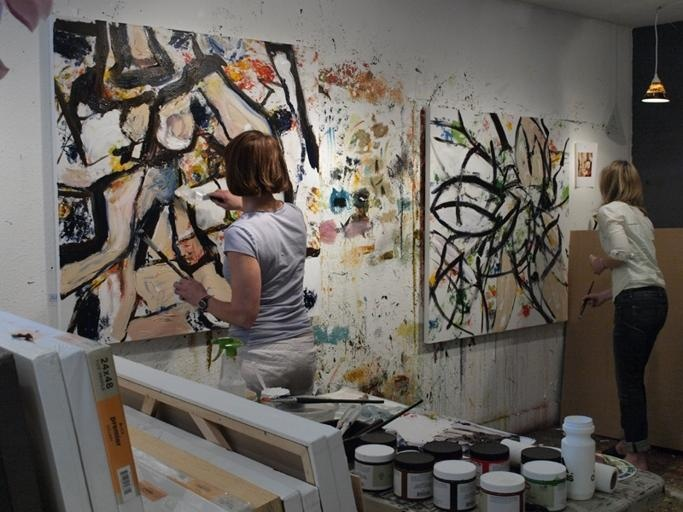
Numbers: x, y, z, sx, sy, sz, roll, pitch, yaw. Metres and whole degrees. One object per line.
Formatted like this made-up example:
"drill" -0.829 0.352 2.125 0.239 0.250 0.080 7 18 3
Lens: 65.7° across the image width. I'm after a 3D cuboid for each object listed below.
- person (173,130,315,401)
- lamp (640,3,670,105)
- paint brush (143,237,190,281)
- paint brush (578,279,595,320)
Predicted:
"person" -0.346 0.045 2.064 0.446 1.047 0.398 -4 5 -9
"lamp" 2.419 -1.533 4.081 0.198 0.761 0.882 0 7 31
"paint brush" -0.832 0.011 2.493 0.039 0.279 0.023 -41 35 -1
"paint brush" 1.852 0.325 3.997 0.052 0.053 0.367 11 55 29
